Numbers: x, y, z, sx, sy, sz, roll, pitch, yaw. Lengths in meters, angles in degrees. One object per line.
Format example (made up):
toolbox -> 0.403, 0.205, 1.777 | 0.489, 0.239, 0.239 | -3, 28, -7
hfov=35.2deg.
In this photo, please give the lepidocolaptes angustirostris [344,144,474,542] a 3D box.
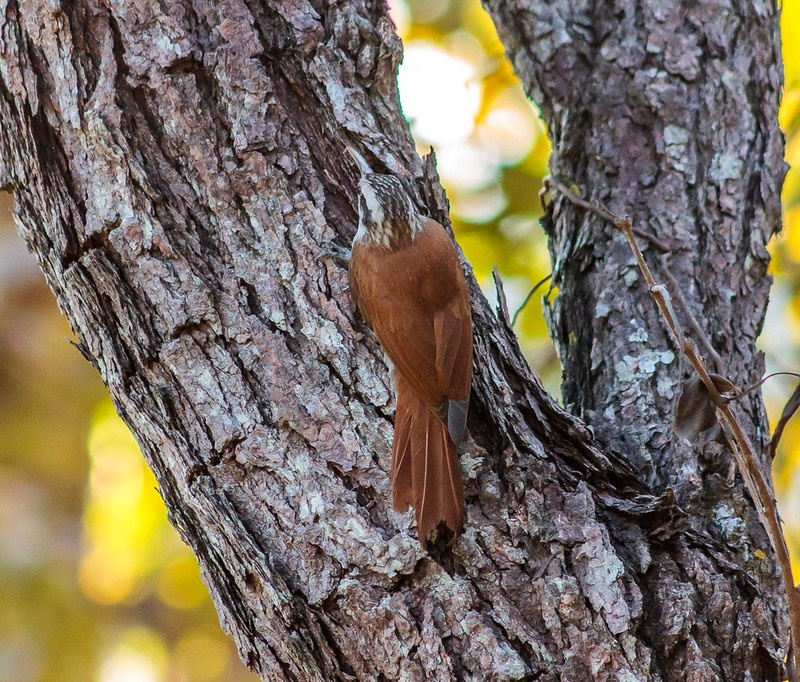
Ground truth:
lepidocolaptes angustirostris -> 0.081, -0.038, 4.734 | 0.366, 1.595, 0.407 | -1, -15, -25
